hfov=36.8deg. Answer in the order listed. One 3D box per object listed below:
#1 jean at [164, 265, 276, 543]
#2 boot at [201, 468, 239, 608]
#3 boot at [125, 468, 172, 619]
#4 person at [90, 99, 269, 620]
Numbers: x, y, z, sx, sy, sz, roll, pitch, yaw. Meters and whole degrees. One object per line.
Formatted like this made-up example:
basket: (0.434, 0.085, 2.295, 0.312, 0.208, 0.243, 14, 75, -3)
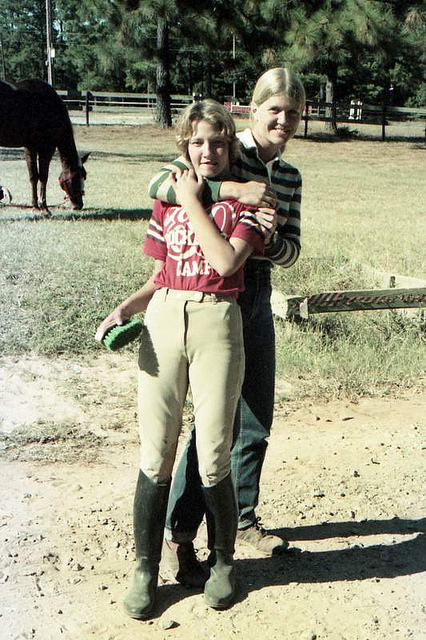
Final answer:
jean: (0.059, 0.331, 2.230, 0.233, 1.030, 0.565, 10, 13, 37)
boot: (0.021, 0.683, 2.073, 0.132, 0.496, 0.284, 2, 10, 1)
boot: (-0.202, 0.688, 1.989, 0.108, 0.474, 0.175, 7, 12, 25)
person: (-0.114, 0.143, 2.001, 0.479, 1.601, 0.412, 2, 10, 1)
